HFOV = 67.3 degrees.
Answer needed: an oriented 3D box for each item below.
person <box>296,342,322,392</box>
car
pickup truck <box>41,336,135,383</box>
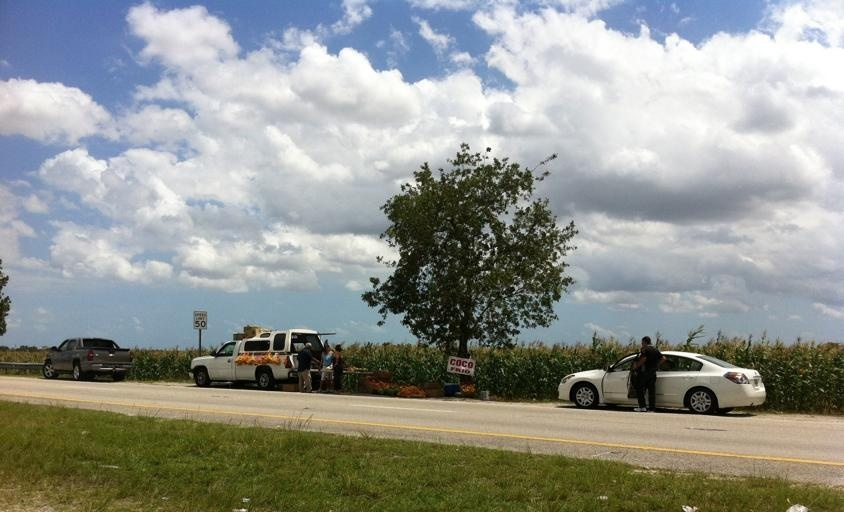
[{"bbox_3d":[-5.424,5.213,29.808,0.651,2.347,1.106,0,-12,15],"label":"person"},{"bbox_3d":[8.880,4.647,23.231,6.277,2.251,1.213,-1,-12,19],"label":"car"},{"bbox_3d":[-19.176,5.961,36.362,4.744,2.294,1.820,-2,-13,25],"label":"pickup truck"}]
